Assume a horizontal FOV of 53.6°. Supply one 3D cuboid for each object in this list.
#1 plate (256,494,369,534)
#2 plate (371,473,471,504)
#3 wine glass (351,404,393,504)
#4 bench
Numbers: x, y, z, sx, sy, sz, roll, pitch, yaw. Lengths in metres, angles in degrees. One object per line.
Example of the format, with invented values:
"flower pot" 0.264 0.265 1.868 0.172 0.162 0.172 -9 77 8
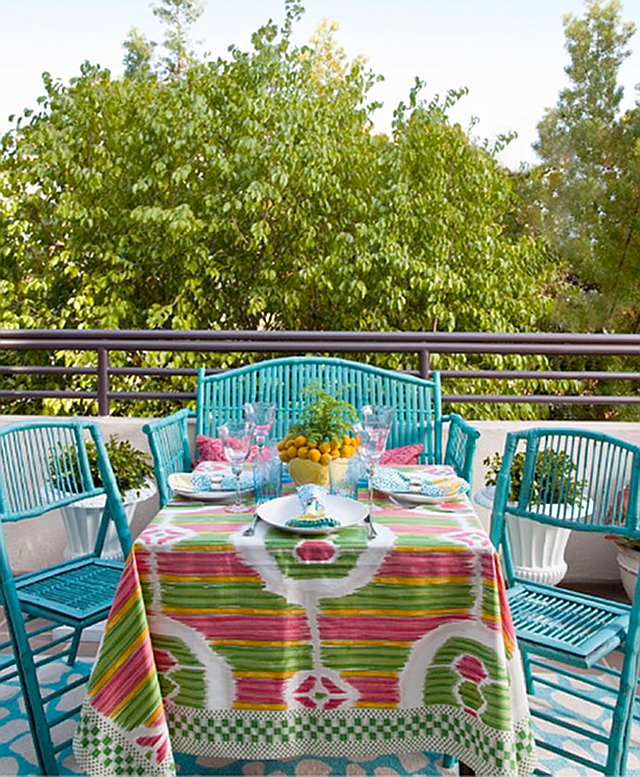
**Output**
"plate" -0.020 0.219 1.222 0.151 0.066 0.195 1 7 -4
"plate" 0.226 0.201 1.460 0.209 0.064 0.145 3 5 10
"wine glass" 0.105 0.142 1.356 0.091 0.200 0.093 2 9 3
"bench" -0.016 0.025 2.166 0.969 0.532 0.585 2 7 -5
